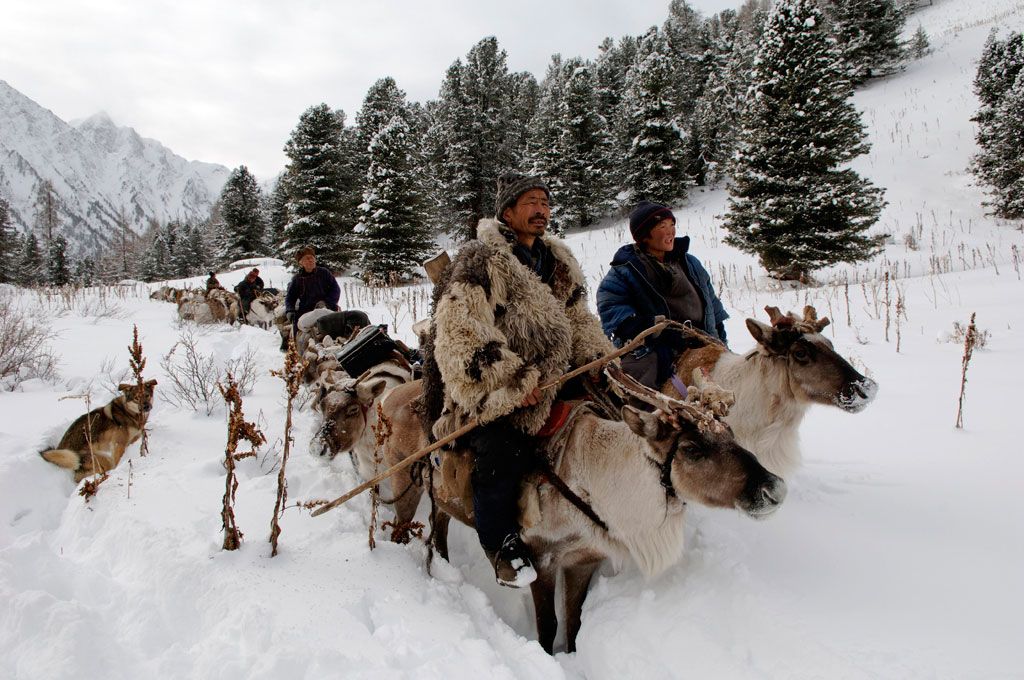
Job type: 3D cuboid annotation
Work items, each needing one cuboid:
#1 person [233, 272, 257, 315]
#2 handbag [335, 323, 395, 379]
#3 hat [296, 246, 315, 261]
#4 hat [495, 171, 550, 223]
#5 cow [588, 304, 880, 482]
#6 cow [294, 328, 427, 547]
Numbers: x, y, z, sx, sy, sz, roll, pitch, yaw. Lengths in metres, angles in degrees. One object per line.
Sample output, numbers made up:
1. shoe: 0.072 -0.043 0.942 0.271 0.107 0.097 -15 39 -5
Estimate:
1. person: -7.361 -1.306 21.071 0.569 1.285 0.979 -7 8 -44
2. handbag: -2.513 0.070 12.805 1.171 0.431 0.877 -37 1 -25
3. hat: -4.485 -1.856 16.230 0.348 0.374 0.305 -5 8 4
4. hat: 0.067 -2.072 10.489 0.719 0.496 0.539 -27 -18 31
5. cow: 3.592 0.362 11.726 4.093 2.717 1.535 19 16 32
6. cow: -2.273 1.580 11.438 0.866 2.570 1.933 -16 36 -14
